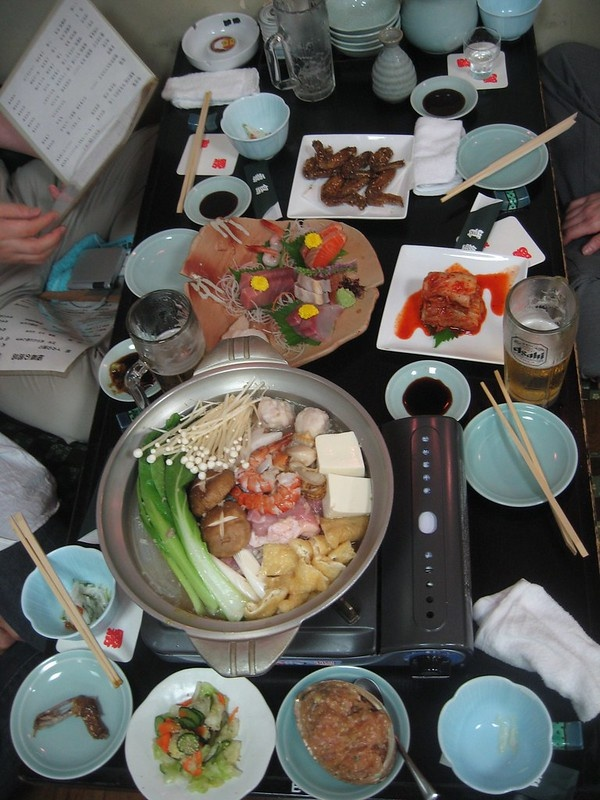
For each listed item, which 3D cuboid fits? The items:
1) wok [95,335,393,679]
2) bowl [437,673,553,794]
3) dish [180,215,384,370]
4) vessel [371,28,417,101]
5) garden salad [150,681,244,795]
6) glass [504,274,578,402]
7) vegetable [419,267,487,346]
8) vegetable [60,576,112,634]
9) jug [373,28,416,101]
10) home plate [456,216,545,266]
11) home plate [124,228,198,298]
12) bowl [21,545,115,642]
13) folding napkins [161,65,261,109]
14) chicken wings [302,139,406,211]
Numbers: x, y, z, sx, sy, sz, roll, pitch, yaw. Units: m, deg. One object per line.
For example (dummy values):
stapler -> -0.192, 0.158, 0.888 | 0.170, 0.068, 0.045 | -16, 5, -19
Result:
wok -> -0.114, 0.197, 1.425 | 0.692, 0.205, 0.666 | 33, 67, 29
bowl -> 0.410, 0.714, 1.330 | 0.236, 0.087, 0.233 | -7, 59, 11
dish -> -0.051, -0.391, 2.092 | 0.668, 0.118, 0.473 | 4, 73, 11
vessel -> 0.369, -1.321, 2.502 | 0.188, 0.246, 0.173 | 1, 53, 11
garden salad -> -0.237, 0.758, 1.411 | 0.189, 0.100, 0.229 | -18, 54, -1
glass -> 0.629, -0.154, 1.646 | 0.205, 0.334, 0.322 | 0, 62, 13
vegetable -> 0.466, -0.281, 1.892 | 0.203, 0.075, 0.200 | -1, 83, 7
vegetable -> -0.552, 0.546, 1.648 | 0.128, 0.051, 0.117 | -1, 59, 5
jug -> 0.374, -1.326, 2.495 | 0.189, 0.251, 0.174 | 17, 65, 19
home plate -> 0.708, -0.530, 2.085 | 0.188, 0.008, 0.186 | -24, 65, -1
home plate -> -0.514, -0.514, 2.319 | 0.331, 0.042, 0.301 | -7, 71, -4
bowl -> -0.603, 0.519, 1.744 | 0.299, 0.157, 0.274 | 0, 71, 1
folding napkins -> -0.373, -1.384, 2.783 | 0.401, 0.071, 0.219 | -2, 60, 9
chicken wings -> 0.198, -0.829, 2.333 | 0.333, 0.097, 0.268 | 26, 65, 18
